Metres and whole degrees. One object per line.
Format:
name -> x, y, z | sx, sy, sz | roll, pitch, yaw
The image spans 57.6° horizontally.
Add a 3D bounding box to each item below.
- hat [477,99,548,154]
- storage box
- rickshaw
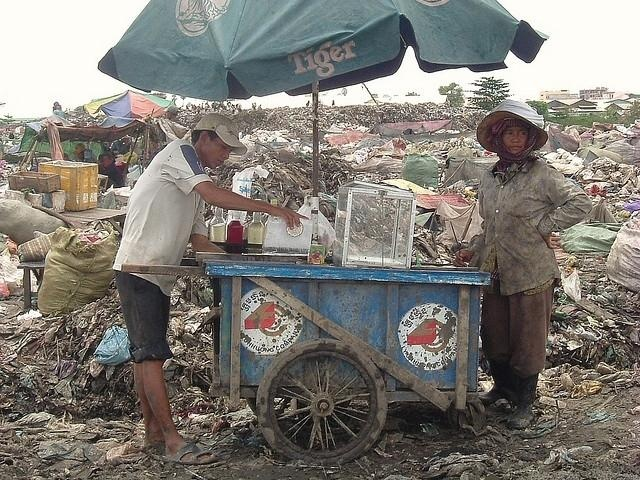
hat -> 1.432, -0.886, 4.299 | 0.547, 0.295, 0.563 | 11, 0, 35
storage box -> -4.414, -0.993, 10.053 | 1.090, 0.682, 1.093 | 6, 8, 30
rickshaw -> -0.062, 0.778, 4.368 | 2.217, 1.146, 1.319 | -1, 1, -4
